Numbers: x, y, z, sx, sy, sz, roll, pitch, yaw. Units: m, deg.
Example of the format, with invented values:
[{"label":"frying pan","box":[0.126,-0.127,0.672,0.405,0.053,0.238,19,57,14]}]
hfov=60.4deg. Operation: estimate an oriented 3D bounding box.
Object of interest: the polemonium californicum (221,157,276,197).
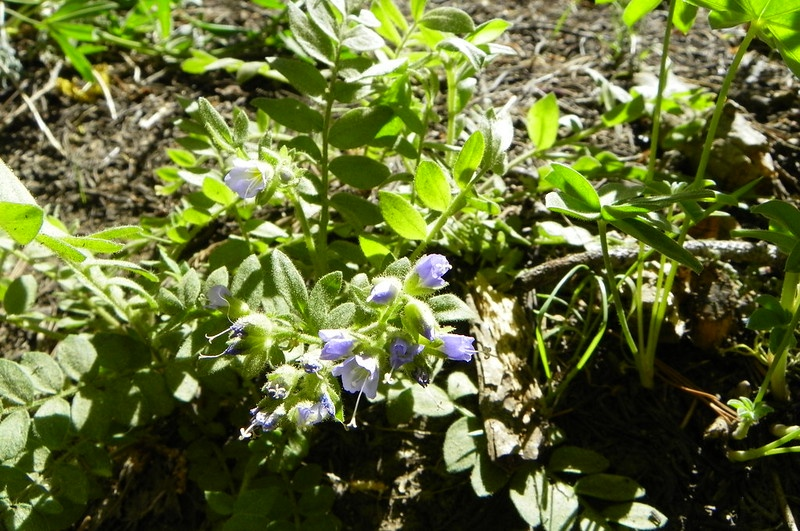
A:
[{"label":"polemonium californicum","box":[-0.645,-0.379,2.960,0.203,0.172,0.124,-9,12,-10]}]
